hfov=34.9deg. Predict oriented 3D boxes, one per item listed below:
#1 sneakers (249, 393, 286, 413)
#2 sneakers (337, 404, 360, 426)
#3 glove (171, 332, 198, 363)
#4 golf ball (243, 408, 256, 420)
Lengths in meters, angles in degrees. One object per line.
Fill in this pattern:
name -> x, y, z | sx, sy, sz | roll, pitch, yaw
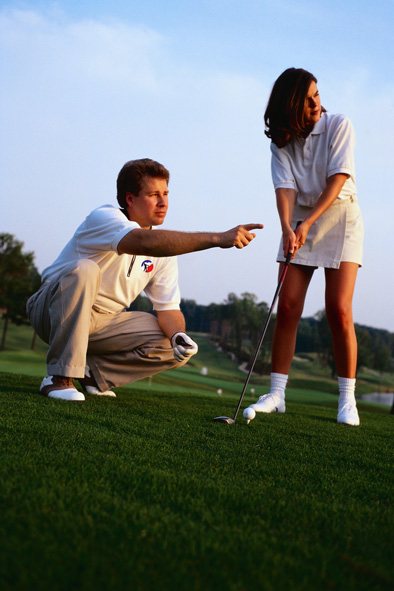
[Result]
sneakers -> 0.429, 0.628, 3.685 | 0.277, 0.114, 0.091 | 11, -15, -39
sneakers -> 0.836, 0.663, 3.459 | 0.091, 0.097, 0.251 | 1, -9, 10
glove -> -0.063, 0.289, 3.600 | 0.132, 0.070, 0.171 | 22, 39, 2
golf ball -> 0.256, 0.583, 3.117 | 0.058, 0.064, 0.056 | -6, 5, 1
